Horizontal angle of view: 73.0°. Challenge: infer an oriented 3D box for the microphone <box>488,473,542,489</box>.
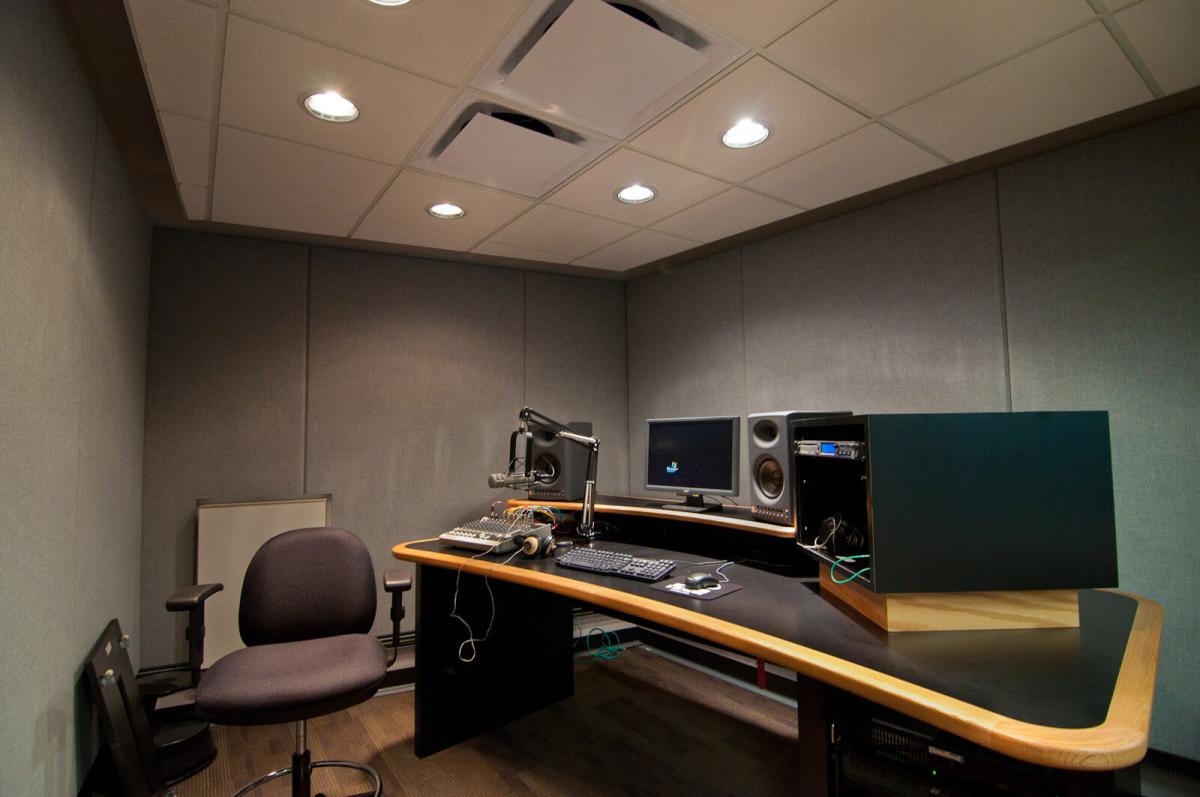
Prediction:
[{"bbox_3d":[-0.467,0.433,4.328,0.141,0.058,0.193,-1,-2,44],"label":"microphone"}]
